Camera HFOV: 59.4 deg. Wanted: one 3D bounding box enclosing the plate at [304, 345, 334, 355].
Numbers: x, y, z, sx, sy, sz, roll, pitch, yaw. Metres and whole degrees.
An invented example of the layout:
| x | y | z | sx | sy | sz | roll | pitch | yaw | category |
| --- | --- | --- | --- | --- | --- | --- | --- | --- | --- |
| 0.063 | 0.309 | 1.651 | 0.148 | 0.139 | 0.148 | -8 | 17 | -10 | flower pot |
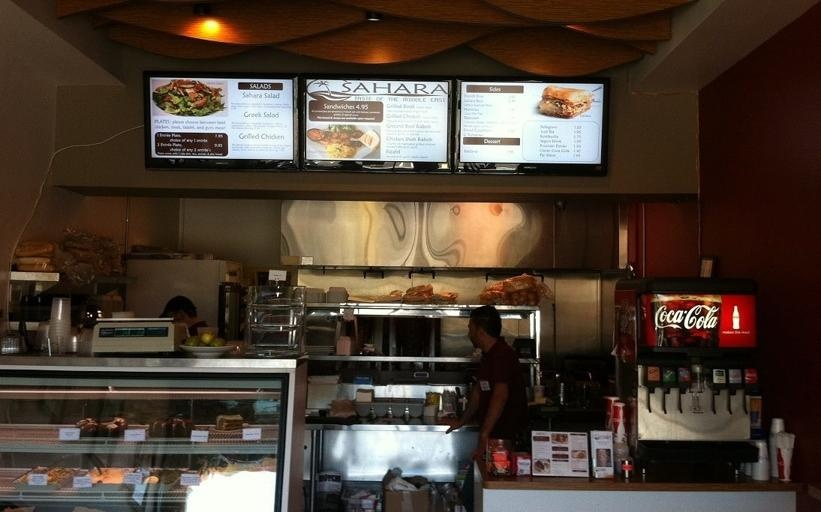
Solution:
| x | y | z | sx | sy | sz | roll | pitch | yaw | category |
| --- | --- | --- | --- | --- | --- | --- | --- | --- | --- |
| -0.770 | 0.790 | 6.119 | 0.237 | 0.056 | 0.277 | 0 | 1 | -8 | plate |

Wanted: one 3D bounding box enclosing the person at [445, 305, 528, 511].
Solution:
| x | y | z | sx | sy | sz | roll | pitch | yaw | category |
| --- | --- | --- | --- | --- | --- | --- | --- | --- | --- |
| 0.551 | 1.091 | 5.269 | 0.578 | 1.426 | 0.959 | 0 | 1 | 9 | person |

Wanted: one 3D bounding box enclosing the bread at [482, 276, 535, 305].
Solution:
| x | y | z | sx | sy | sz | roll | pitch | yaw | category |
| --- | --- | --- | --- | --- | --- | --- | --- | --- | --- |
| 0.843 | 0.279 | 6.081 | 0.373 | 0.120 | 0.263 | 1 | 0 | 9 | bread |

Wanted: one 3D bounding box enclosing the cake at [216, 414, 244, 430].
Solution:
| x | y | z | sx | sy | sz | roll | pitch | yaw | category |
| --- | --- | --- | --- | --- | --- | --- | --- | --- | --- |
| -1.114 | 1.021 | 4.436 | 0.142 | 0.071 | 0.102 | 1 | -2 | -11 | cake |

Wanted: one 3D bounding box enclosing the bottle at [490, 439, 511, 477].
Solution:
| x | y | z | sx | sy | sz | roll | pitch | yaw | category |
| --- | --- | --- | --- | --- | --- | --- | --- | --- | --- |
| 0.563 | 1.267 | 4.543 | 0.142 | 0.216 | 0.055 | 0 | 0 | 1 | bottle |

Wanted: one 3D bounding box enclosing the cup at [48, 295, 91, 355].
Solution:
| x | y | z | sx | sy | sz | roll | pitch | yaw | category |
| --- | --- | --- | --- | --- | --- | --- | --- | --- | --- |
| -2.233 | 0.443 | 4.660 | 0.223 | 0.346 | 0.259 | -1 | 1 | -37 | cup |
